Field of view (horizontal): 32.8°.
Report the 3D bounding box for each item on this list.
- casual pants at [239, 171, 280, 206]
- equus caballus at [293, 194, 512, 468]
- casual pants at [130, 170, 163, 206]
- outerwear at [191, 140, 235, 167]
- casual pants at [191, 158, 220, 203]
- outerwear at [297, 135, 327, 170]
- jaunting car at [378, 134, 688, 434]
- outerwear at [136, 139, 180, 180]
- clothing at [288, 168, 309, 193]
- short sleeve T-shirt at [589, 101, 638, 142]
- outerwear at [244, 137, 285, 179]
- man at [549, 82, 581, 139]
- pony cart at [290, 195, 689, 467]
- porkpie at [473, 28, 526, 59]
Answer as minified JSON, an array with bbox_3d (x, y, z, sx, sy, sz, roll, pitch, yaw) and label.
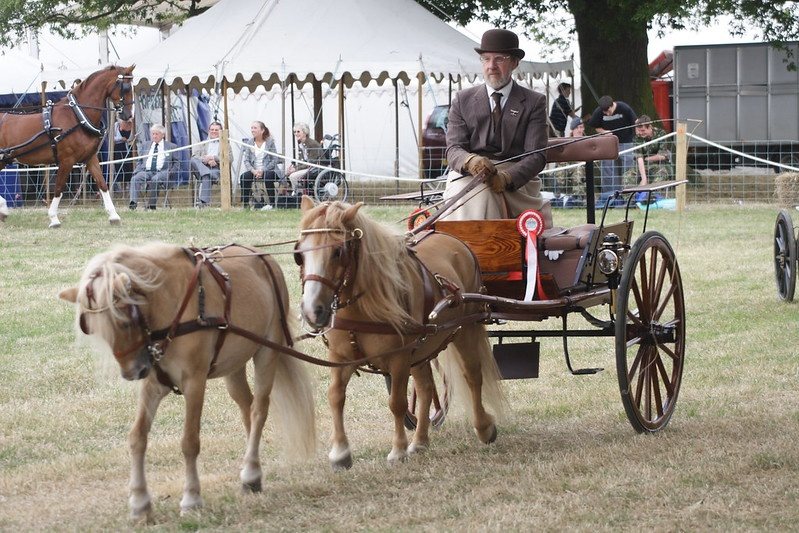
[{"bbox_3d":[-2.794,-1.579,27.564,0.704,0.891,0.704,1,12,-4],"label":"casual pants"},{"bbox_3d":[0.078,0.992,17.126,1.238,3.272,4.846,-3,-2,27],"label":"equus caballus"},{"bbox_3d":[-5.230,-1.580,27.829,0.723,0.860,0.657,4,-4,-37],"label":"casual pants"},{"bbox_3d":[-3.764,-2.302,27.579,0.767,0.803,0.336,2,-22,12],"label":"outerwear"},{"bbox_3d":[-3.961,-1.770,27.557,0.543,1.009,0.511,17,17,-2],"label":"casual pants"},{"bbox_3d":[-1.734,-2.248,27.236,0.616,0.684,0.534,2,-8,-31],"label":"outerwear"},{"bbox_3d":[2.152,0.236,16.872,4.705,3.373,2.056,3,7,29],"label":"jaunting car"},{"bbox_3d":[-4.954,-2.159,27.953,0.844,0.892,0.486,0,-10,5],"label":"outerwear"},{"bbox_3d":[-1.989,-1.707,27.080,0.392,0.432,0.538,-1,-3,-4],"label":"clothing"},{"bbox_3d":[4.245,-2.693,26.764,0.945,0.916,0.517,-11,-15,10],"label":"short sleeve T-shirt"},{"bbox_3d":[-2.826,-2.214,27.703,0.703,0.833,0.831,3,18,6],"label":"outerwear"},{"bbox_3d":[3.536,-3.164,29.451,0.527,1.579,0.501,3,-2,23],"label":"man"},{"bbox_3d":[0.764,0.633,17.424,3.990,2.890,5.909,6,5,42],"label":"pony cart"},{"bbox_3d":[1.284,-2.829,17.173,0.552,0.367,0.290,-2,-3,3],"label":"porkpie"}]
